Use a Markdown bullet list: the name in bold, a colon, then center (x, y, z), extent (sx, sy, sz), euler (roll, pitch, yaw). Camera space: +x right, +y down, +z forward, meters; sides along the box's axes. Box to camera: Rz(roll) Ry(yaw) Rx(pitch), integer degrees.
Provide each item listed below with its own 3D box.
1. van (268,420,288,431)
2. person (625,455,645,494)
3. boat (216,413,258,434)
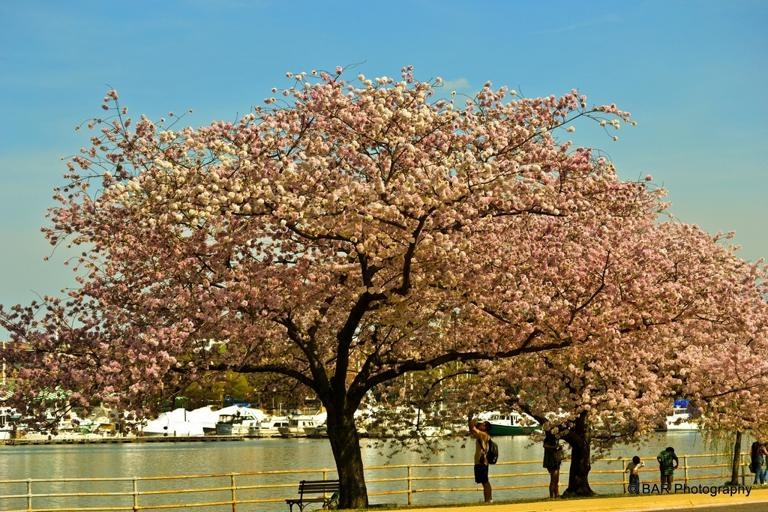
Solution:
- **van**: center (-9.250, 15.020, 123.588), extent (1.401, 0.936, 3.880), euler (-3, -10, -7)
- **person**: center (9.619, 8.324, 52.966), extent (0.596, 1.325, 3.034), euler (-7, -11, 9)
- **boat**: center (-13.223, 14.608, 120.728), extent (2.580, 1.328, 4.051), euler (2, 1, 16)
